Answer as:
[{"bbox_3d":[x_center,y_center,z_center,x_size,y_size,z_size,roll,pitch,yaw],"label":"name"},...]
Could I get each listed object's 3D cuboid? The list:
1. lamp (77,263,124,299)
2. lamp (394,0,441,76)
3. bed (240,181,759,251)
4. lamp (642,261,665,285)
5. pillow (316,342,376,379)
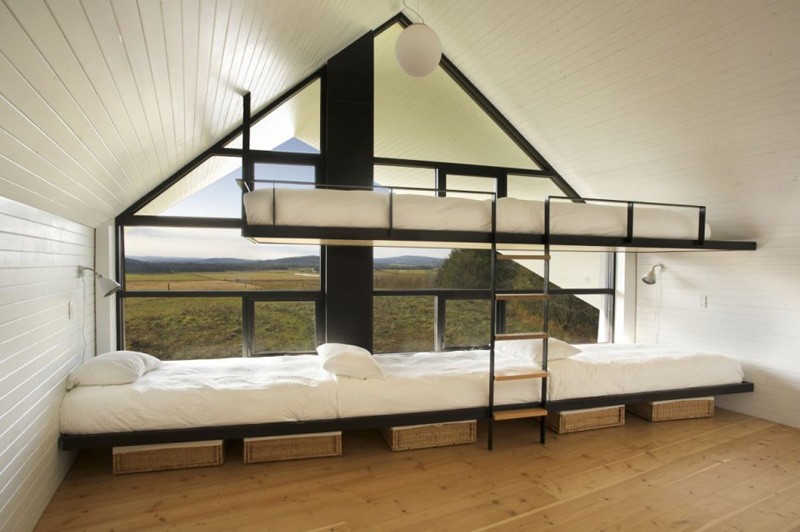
[{"bbox_3d":[-3.056,0.158,5.665,0.350,0.387,0.506,-2,6,-21],"label":"lamp"},{"bbox_3d":[0.155,-2.020,5.129,0.422,0.475,0.227,0,6,-1],"label":"lamp"},{"bbox_3d":[0.764,-0.451,5.388,4.414,0.569,0.421,-1,6,-8],"label":"bed"},{"bbox_3d":[3.255,0.117,7.147,0.246,0.308,0.558,2,6,24],"label":"lamp"},{"bbox_3d":[-0.540,0.930,5.606,0.370,0.123,0.603,-2,8,14],"label":"pillow"}]
